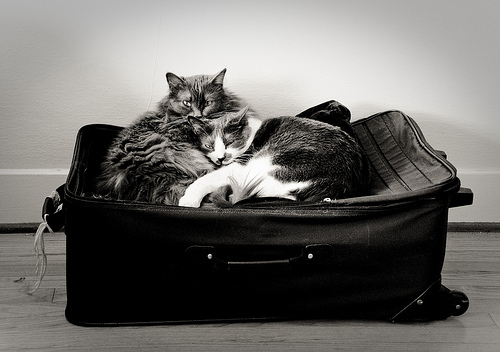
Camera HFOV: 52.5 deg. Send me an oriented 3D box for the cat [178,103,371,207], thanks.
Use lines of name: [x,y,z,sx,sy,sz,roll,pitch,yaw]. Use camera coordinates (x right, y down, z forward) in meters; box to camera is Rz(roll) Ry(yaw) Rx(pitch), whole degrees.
cat: [0.082,-0.065,1.528,0.470,0.167,0.294,0,26,-3]

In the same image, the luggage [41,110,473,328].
luggage: [0.019,0.101,1.589,1.073,0.320,0.692,0,11,-1]
